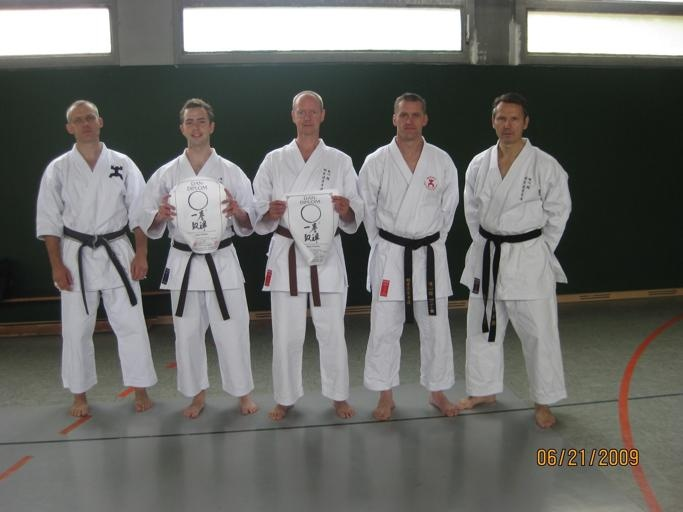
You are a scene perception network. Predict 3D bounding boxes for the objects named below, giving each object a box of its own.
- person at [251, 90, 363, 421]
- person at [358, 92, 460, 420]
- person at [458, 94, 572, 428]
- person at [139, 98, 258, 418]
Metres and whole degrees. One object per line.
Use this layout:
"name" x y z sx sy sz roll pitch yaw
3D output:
"person" -0.227 -0.008 4.449 0.787 2.259 0.665 -2 14 -8
"person" 0.486 -0.006 4.432 0.721 2.235 0.558 0 14 2
"person" 1.255 -0.051 4.400 0.765 2.132 0.514 3 14 11
"person" -1.043 0.022 4.530 0.806 2.255 0.663 -1 14 -5
